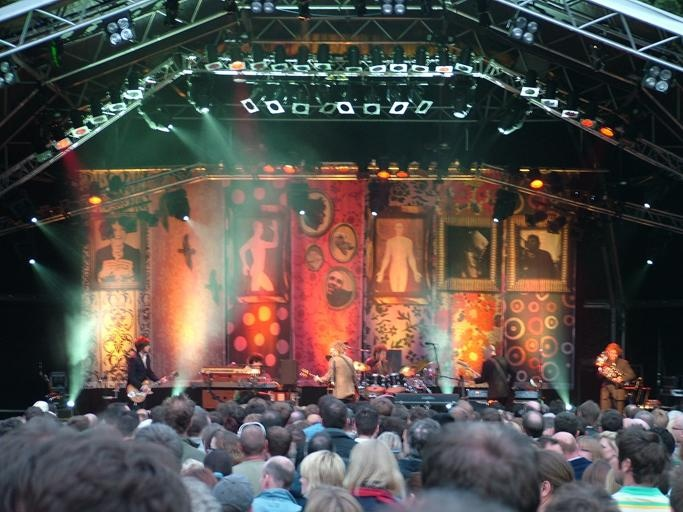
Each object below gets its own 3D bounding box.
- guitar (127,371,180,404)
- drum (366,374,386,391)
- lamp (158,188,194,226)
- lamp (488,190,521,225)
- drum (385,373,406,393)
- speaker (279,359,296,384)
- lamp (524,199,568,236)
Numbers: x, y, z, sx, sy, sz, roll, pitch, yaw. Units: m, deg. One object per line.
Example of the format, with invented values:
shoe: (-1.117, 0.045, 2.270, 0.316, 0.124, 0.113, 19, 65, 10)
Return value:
guitar: (-3.951, 2.736, 25.016, 0.227, 0.452, 1.525, -5, 12, 42)
drum: (0.775, 2.783, 26.447, 0.370, 0.257, 0.337, -1, -12, 0)
lamp: (-3.862, -1.176, 28.015, 0.917, 0.667, 0.194, 3, 11, 15)
lamp: (3.855, -1.174, 28.185, 0.504, 0.438, 0.841, 5, 21, 29)
drum: (1.202, 2.792, 26.457, 0.377, 0.335, 0.410, -34, -50, 31)
speaker: (-1.158, 2.505, 26.657, 0.565, 0.554, 0.648, 0, 1, -4)
lamp: (4.855, -0.977, 28.320, 1.010, 0.752, 0.603, 3, -11, 6)
